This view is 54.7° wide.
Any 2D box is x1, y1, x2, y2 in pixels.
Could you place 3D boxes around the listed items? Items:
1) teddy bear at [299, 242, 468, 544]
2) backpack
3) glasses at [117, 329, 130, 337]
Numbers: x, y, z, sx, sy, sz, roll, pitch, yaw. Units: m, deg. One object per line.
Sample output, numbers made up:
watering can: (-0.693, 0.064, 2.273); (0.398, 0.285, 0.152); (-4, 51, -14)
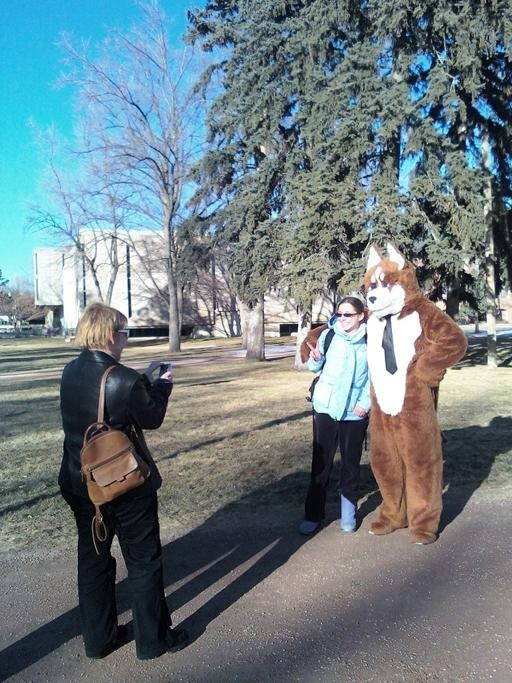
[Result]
teddy bear: (1.125, 0.370, 3.556); (0.705, 2.092, 0.572); (-1, 4, 22)
backpack: (-0.592, 0.492, 2.065); (0.265, 0.765, 0.215); (-3, 4, -2)
glasses: (-0.603, -0.043, 2.273); (0.017, 0.058, 0.058); (10, 6, 27)
